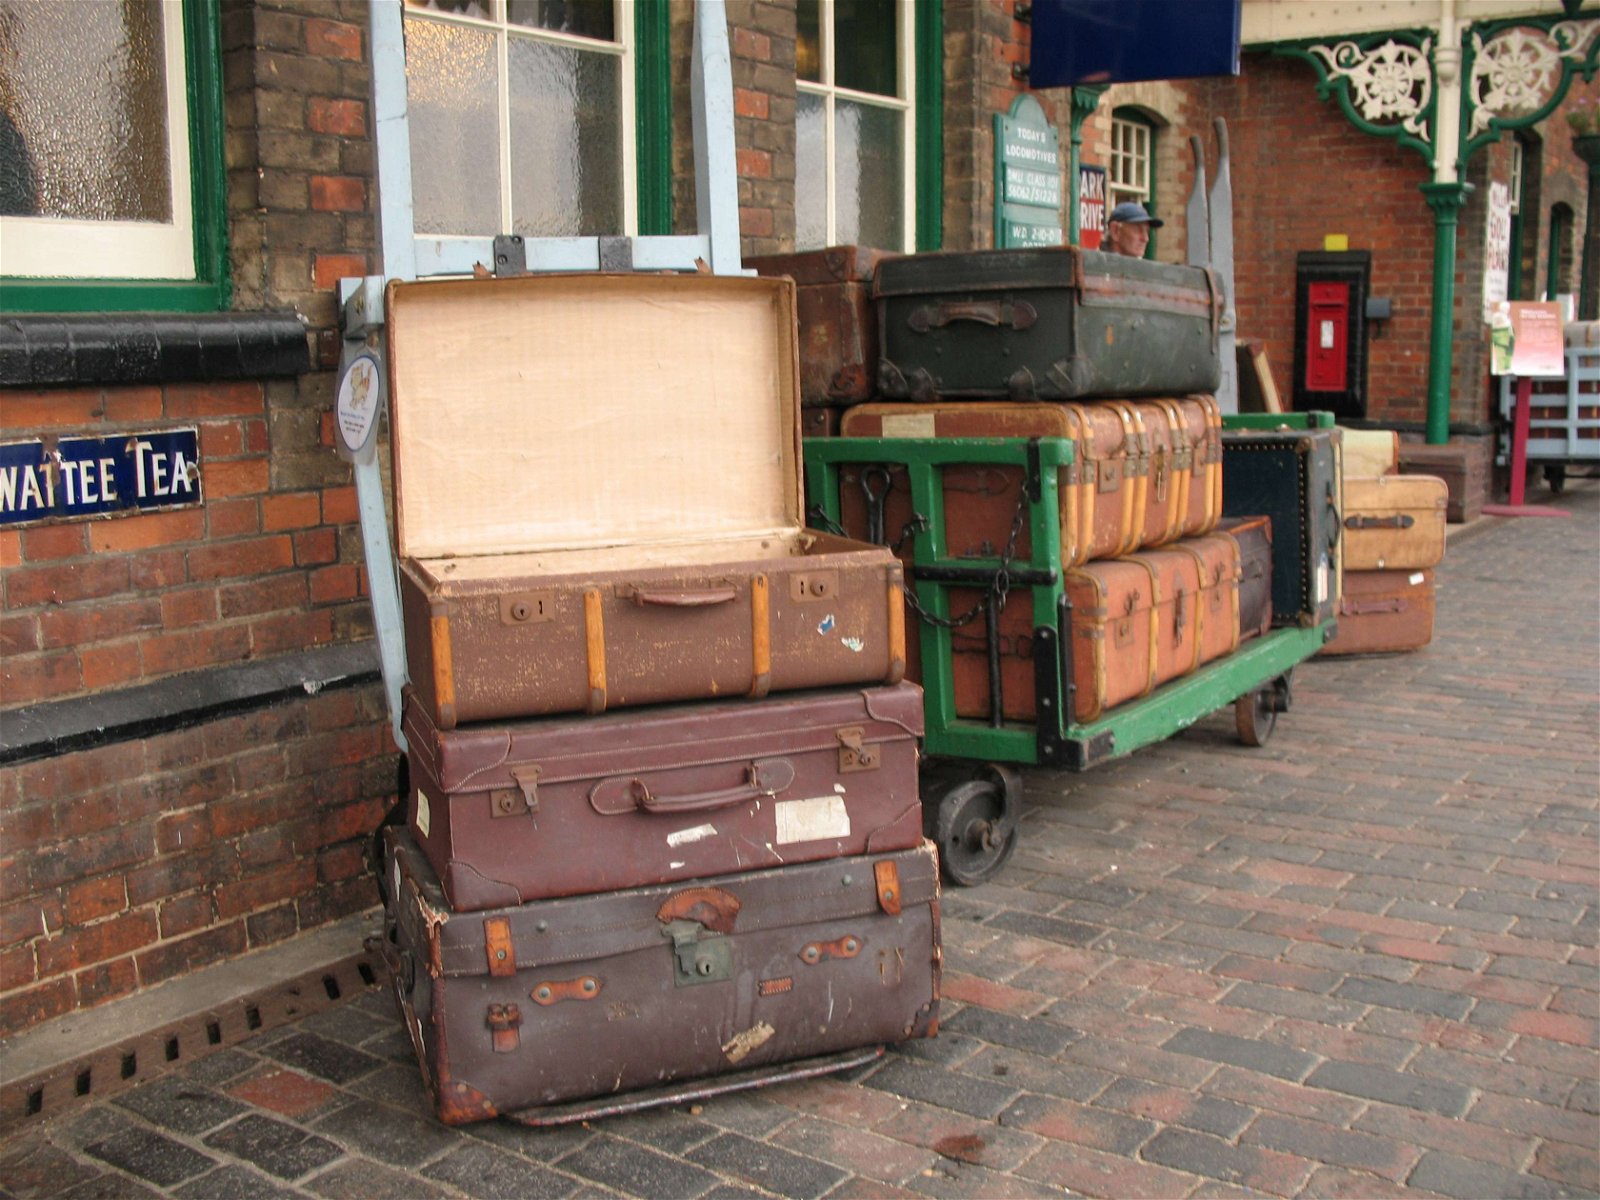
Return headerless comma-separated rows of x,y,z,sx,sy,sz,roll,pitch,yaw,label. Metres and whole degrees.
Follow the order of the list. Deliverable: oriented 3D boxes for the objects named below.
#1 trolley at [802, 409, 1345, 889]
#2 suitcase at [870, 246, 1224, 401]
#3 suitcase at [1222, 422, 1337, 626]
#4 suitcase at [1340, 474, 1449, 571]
1.328,0.078,6.777,1.816,1.883,3.152,6,11,40,trolley
1.161,-1.209,6.072,0.989,0.648,1.688,6,12,38,suitcase
2.587,-0.420,7.625,0.769,1.029,1.018,3,8,32,suitcase
3.706,-0.457,8.502,0.430,0.550,0.707,4,-1,-44,suitcase
